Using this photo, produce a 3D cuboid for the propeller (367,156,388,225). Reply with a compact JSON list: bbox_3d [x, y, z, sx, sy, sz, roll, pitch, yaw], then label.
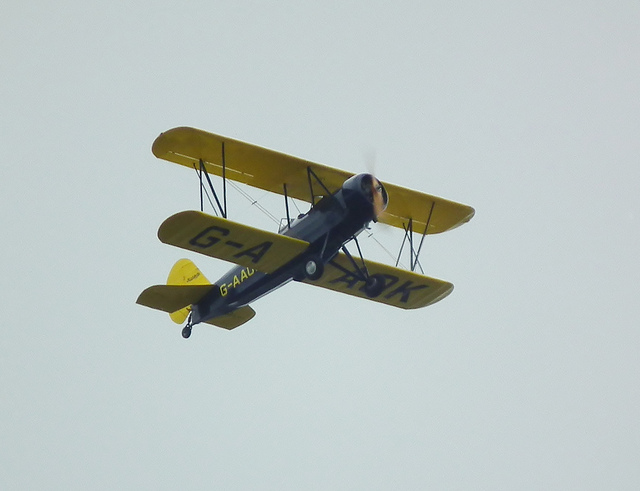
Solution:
[{"bbox_3d":[0.927,-0.752,18.595,0.301,0.248,1.031,6,-76,47],"label":"propeller"}]
